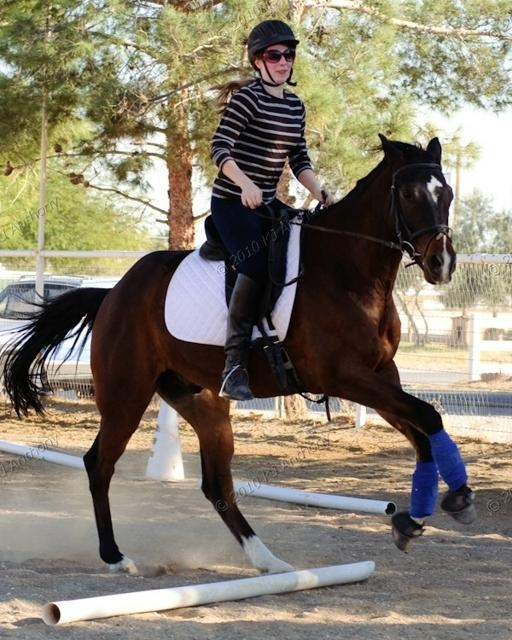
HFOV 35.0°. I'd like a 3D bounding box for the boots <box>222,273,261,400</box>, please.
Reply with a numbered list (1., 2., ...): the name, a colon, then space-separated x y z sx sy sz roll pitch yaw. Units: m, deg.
1. boots: -0.100 0.096 4.380 0.171 0.674 0.203 1 -1 -9
